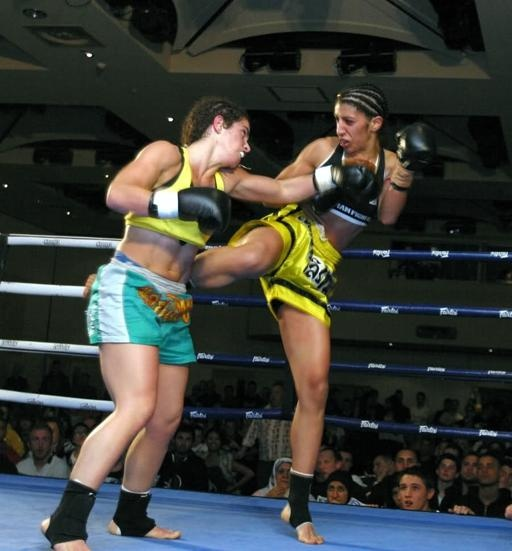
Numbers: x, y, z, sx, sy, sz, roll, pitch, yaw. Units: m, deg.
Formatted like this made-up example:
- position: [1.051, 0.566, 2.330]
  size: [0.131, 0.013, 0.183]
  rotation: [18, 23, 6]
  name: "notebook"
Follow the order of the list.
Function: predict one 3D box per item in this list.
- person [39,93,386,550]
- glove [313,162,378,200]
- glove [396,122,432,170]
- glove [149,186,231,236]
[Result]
- position: [-0.267, 0.095, 1.866]
  size: [0.491, 1.201, 0.703]
  rotation: [11, -4, 4]
  name: "person"
- position: [0.331, -0.351, 2.180]
  size: [0.192, 0.069, 0.135]
  rotation: [-5, -27, 35]
  name: "glove"
- position: [0.600, -0.496, 2.290]
  size: [0.178, 0.165, 0.076]
  rotation: [8, -22, -15]
  name: "glove"
- position: [-0.187, -0.183, 1.657]
  size: [0.197, 0.065, 0.144]
  rotation: [5, -4, 34]
  name: "glove"
